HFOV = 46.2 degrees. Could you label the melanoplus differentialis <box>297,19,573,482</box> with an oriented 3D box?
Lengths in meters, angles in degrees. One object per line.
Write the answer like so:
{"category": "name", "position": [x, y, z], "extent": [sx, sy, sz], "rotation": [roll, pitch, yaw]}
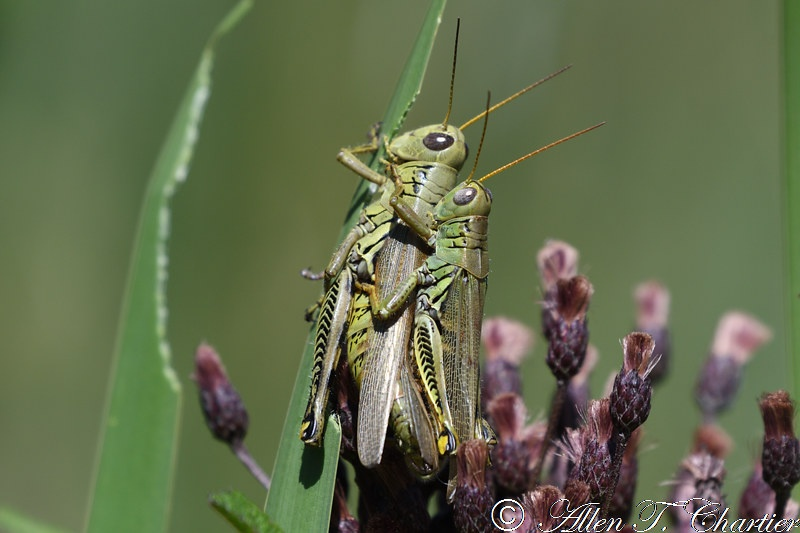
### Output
{"category": "melanoplus differentialis", "position": [0.125, 0.181, 3.799], "extent": [0.831, 2.079, 0.757], "rotation": [21, -20, -41]}
